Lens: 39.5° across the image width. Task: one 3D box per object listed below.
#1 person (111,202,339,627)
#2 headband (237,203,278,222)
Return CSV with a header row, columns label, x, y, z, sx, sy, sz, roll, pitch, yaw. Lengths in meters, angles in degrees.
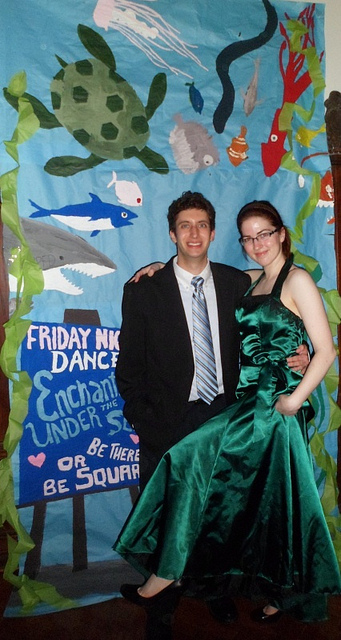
label,x,y,z,sx,sy,sz,roll,pitch,yaw
person,0.262,0.363,1.708,0.816,1.574,0.351,0,6,-7
headband,0.323,-0.403,1.757,0.145,0.060,0.063,2,7,10
